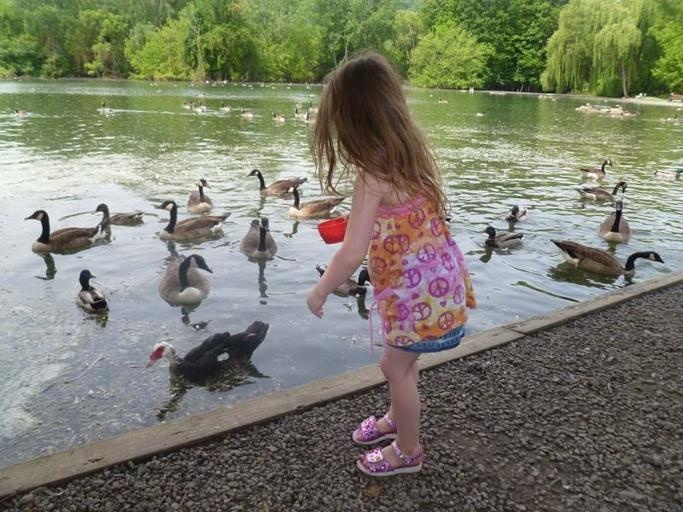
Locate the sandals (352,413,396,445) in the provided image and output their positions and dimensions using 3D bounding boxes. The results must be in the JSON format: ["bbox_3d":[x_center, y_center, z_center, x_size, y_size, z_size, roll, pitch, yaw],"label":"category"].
[{"bbox_3d":[0.268,1.748,5.500,0.509,0.193,0.231,-6,26,-9],"label":"sandals"}]

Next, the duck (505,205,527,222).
[{"bbox_3d":[4.424,-1.050,13.895,0.402,0.470,0.635,13,42,28],"label":"duck"}]

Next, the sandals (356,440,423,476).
[{"bbox_3d":[0.427,1.914,5.278,0.644,0.245,0.282,2,17,-1],"label":"sandals"}]

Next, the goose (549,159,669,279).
[{"bbox_3d":[5.642,-0.183,11.694,1.588,2.012,1.715,-9,18,-35],"label":"goose"}]

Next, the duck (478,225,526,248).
[{"bbox_3d":[3.559,-0.429,12.239,0.849,0.483,0.439,1,8,-8],"label":"duck"}]
